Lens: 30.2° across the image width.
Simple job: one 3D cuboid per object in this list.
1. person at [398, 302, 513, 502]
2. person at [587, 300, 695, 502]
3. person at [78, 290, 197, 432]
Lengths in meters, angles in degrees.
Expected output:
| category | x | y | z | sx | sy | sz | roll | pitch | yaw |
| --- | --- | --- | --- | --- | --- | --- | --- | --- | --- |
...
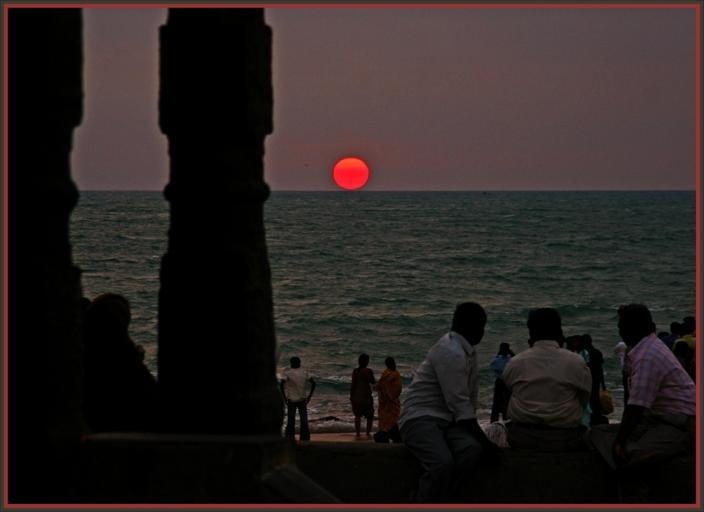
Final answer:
| category | x | y | z | sx | sy | sz | roll | pitch | yaw |
| --- | --- | --- | --- | --- | --- | --- | --- | --- | --- |
| person | 0.911 | 1.385 | 12.488 | 0.923 | 1.837 | 0.498 | -1 | -1 | 1 |
| person | 2.799 | 1.399 | 12.526 | 0.970 | 1.848 | 0.461 | -2 | -1 | 13 |
| person | -2.228 | 1.028 | 12.717 | 0.796 | 1.329 | 0.371 | -1 | -1 | 2 |
